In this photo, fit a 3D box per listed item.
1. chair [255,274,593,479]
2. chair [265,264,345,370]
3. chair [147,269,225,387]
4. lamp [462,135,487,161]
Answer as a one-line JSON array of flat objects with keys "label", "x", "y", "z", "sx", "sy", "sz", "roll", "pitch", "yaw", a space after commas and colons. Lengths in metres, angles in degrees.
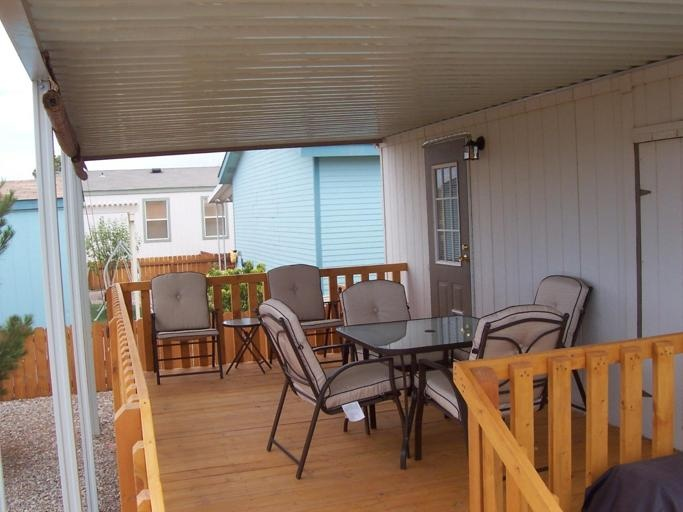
[{"label": "chair", "x": 0.925, "y": 0.883, "z": 4.777, "sx": 2.289, "sy": 1.322, "sz": 2.336, "roll": 1, "pitch": 7, "yaw": 31}, {"label": "chair", "x": -0.430, "y": 0.839, "z": 6.700, "sx": 0.939, "sy": 1.297, "sz": 0.931, "roll": -7, "pitch": 6, "yaw": -22}, {"label": "chair", "x": -1.949, "y": 0.886, "z": 6.458, "sx": 0.917, "sy": 1.218, "sz": 1.016, "roll": -2, "pitch": 2, "yaw": -11}, {"label": "lamp", "x": 1.616, "y": -1.265, "z": 6.335, "sx": 0.258, "sy": 0.382, "sz": 0.244, "roll": 0, "pitch": 3, "yaw": -21}]
